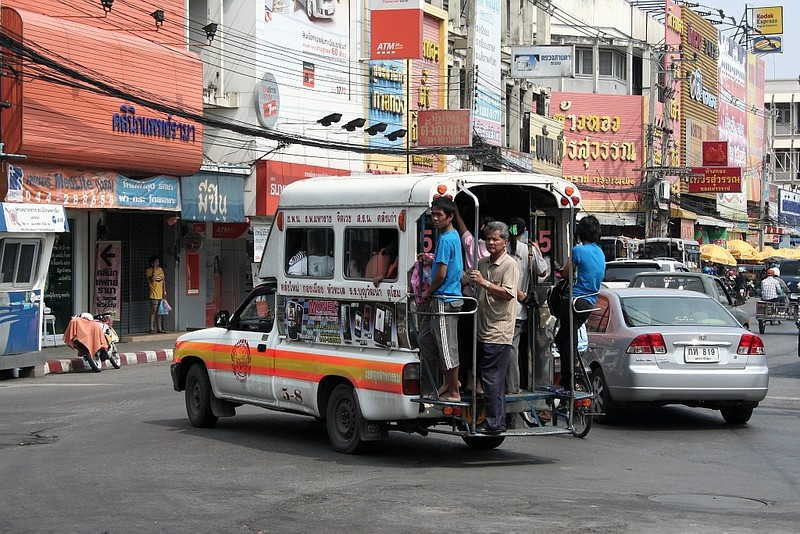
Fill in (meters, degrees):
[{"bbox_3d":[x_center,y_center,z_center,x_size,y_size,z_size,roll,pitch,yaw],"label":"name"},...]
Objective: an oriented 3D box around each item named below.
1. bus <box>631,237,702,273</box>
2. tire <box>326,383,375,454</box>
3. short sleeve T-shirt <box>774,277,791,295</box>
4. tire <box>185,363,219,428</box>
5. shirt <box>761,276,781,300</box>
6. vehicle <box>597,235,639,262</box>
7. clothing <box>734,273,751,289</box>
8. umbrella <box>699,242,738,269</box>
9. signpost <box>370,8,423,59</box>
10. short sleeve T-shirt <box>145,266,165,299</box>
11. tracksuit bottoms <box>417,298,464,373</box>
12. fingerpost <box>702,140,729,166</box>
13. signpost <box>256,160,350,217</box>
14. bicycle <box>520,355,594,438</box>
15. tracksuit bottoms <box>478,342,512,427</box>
[{"bbox_3d":[14.108,-0.841,45.252,3.102,3.109,4.815,2,3,27],"label":"bus"},{"bbox_3d":[-0.607,1.929,10.896,0.330,1.024,0.847,1,-4,-38],"label":"tire"},{"bbox_3d":[14.868,0.760,33.365,0.194,0.588,0.405,-25,9,1],"label":"short sleeve T-shirt"},{"bbox_3d":[-2.963,1.934,12.887,0.329,1.105,0.937,-1,1,-25],"label":"tire"},{"bbox_3d":[13.543,0.801,31.276,0.661,0.820,0.422,5,13,35],"label":"shirt"},{"bbox_3d":[9.942,-0.835,38.911,1.625,1.829,2.986,1,5,5],"label":"vehicle"},{"bbox_3d":[18.736,0.784,46.986,0.498,0.511,1.104,-15,8,17],"label":"clothing"},{"bbox_3d":[19.611,-0.744,52.999,1.988,0.841,2.095,5,-2,4],"label":"umbrella"},{"bbox_3d":[-0.138,-9.573,34.840,1.873,1.928,0.660,0,2,5],"label":"signpost"},{"bbox_3d":[-7.681,0.503,26.974,0.520,1.031,0.435,2,4,-23],"label":"short sleeve T-shirt"},{"bbox_3d":[0.475,0.778,10.145,0.486,0.861,0.334,4,3,3],"label":"tracksuit bottoms"},{"bbox_3d":[25.898,-9.342,70.528,2.287,2.411,0.352,-3,-17,25],"label":"fingerpost"},{"bbox_3d":[-3.267,-2.898,31.265,0.600,1.928,4.571,5,7,40],"label":"signpost"},{"bbox_3d":[2.190,1.781,11.286,0.773,1.061,1.256,0,3,-25],"label":"bicycle"},{"bbox_3d":[1.106,1.423,10.295,0.369,1.033,0.252,4,3,4],"label":"tracksuit bottoms"}]
